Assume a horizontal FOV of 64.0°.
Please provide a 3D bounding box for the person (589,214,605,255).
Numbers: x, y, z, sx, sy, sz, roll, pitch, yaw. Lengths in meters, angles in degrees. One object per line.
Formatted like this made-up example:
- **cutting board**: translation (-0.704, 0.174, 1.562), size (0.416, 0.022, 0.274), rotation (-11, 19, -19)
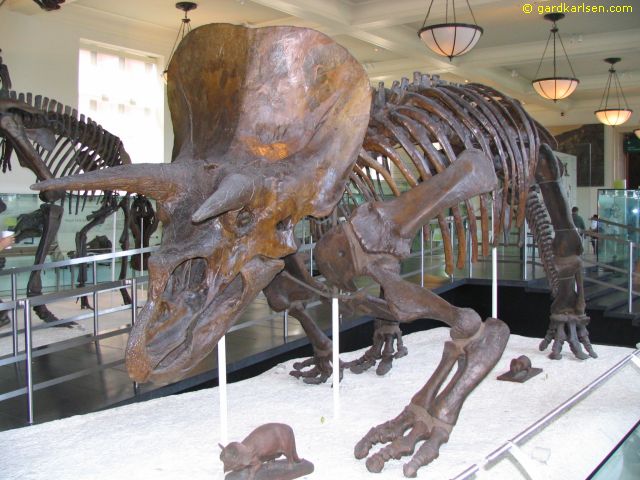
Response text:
- **person**: translation (4.741, -0.072, 8.843), size (0.251, 0.720, 0.235), rotation (-4, 16, 10)
